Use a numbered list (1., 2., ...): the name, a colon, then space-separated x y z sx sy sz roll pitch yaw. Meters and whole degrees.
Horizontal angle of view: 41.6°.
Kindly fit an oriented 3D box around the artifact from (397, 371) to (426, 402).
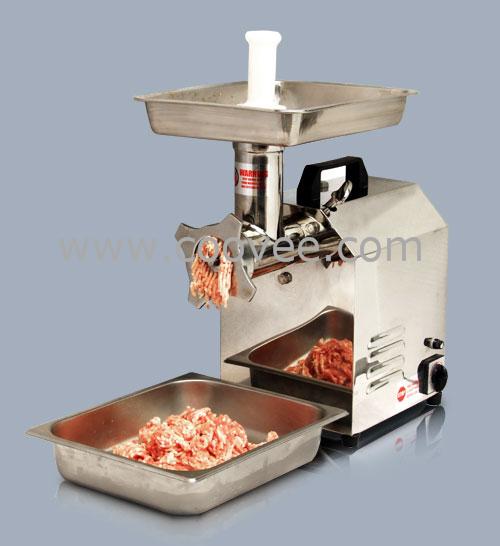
1. artifact: 0.444 0.310 1.798 0.058 0.026 0.096 11 17 33

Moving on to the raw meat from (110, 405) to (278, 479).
1. raw meat: -0.143 0.373 1.504 0.355 0.076 0.330 -15 6 -16

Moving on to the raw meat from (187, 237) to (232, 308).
1. raw meat: -0.061 -0.005 1.439 0.135 0.160 0.058 6 5 36
